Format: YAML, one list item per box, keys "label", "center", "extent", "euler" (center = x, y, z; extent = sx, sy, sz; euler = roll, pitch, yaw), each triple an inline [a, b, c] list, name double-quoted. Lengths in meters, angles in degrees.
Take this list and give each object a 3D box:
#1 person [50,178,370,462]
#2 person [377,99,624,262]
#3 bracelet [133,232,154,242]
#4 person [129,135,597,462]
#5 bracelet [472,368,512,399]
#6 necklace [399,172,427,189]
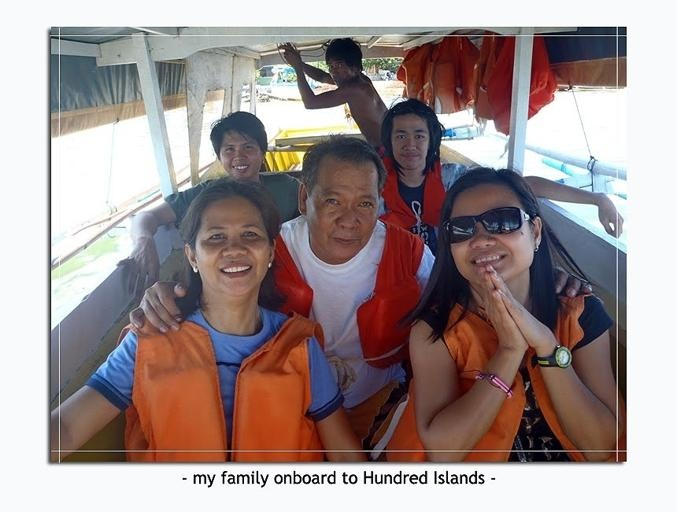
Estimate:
- label: "person"
  center: [-0.629, 0.266, 2.184]
  extent: [1.253, 0.898, 0.406]
  euler: [0, 4, -9]
- label: "person"
  center: [0.700, -0.367, 2.178]
  extent: [0.549, 0.745, 0.222]
  euler: [-12, 15, 10]
- label: "bracelet"
  center: [-0.867, -0.089, 2.193]
  extent: [0.062, 0.047, 0.018]
  euler: [-1, -5, 5]
- label: "person"
  center: [-0.005, 0.213, 2.229]
  extent: [1.741, 1.398, 0.991]
  euler: [-2, 12, -15]
- label: "bracelet"
  center: [0.674, 0.550, 2.147]
  extent: [0.110, 0.046, 0.121]
  euler: [34, 1, -43]
- label: "necklace"
  center: [0.329, -0.340, 2.188]
  extent: [0.078, 0.074, 0.019]
  euler: [5, 53, -4]
